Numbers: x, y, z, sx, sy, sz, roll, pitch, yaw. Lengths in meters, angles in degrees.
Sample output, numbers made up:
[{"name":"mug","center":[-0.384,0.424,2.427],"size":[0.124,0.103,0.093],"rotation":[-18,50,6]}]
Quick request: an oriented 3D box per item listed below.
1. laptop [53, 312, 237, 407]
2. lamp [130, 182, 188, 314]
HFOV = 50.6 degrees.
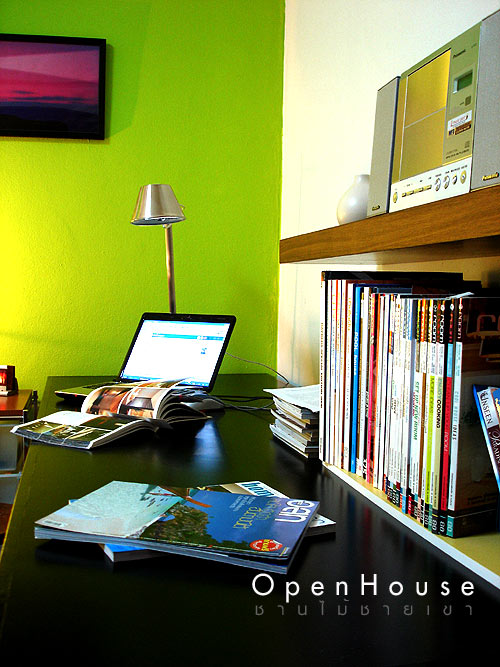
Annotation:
[{"name":"laptop","center":[-0.223,0.043,1.595],"size":[0.327,0.199,0.306],"rotation":[1,-2,43]},{"name":"lamp","center":[-0.341,-0.289,1.903],"size":[0.174,0.426,0.399],"rotation":[1,1,-12]}]
